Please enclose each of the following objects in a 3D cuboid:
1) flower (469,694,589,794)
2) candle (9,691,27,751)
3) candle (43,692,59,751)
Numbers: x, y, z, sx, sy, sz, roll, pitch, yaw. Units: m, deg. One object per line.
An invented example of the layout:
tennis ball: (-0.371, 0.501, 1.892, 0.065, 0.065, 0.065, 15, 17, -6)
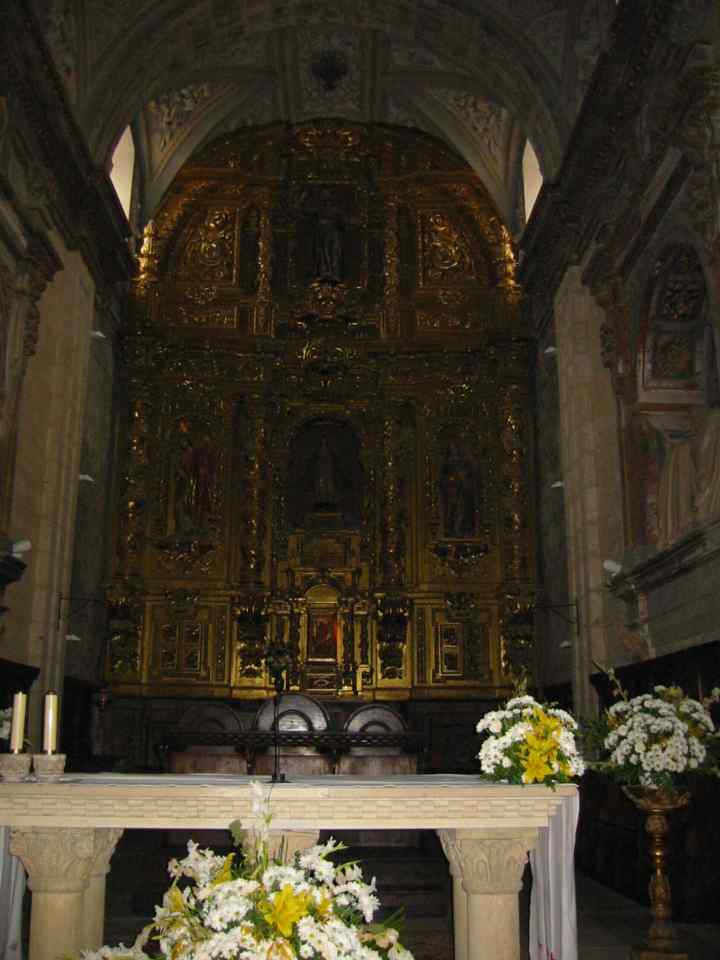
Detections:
flower: (0.730, 1.048, 4.314, 0.432, 0.338, 0.428, -2, 4, -31)
candle: (-1.544, 1.101, 4.795, 0.061, 0.308, 0.549, 7, -20, -17)
candle: (-1.342, 1.062, 4.614, 0.065, 0.286, 0.284, 7, -20, -15)
